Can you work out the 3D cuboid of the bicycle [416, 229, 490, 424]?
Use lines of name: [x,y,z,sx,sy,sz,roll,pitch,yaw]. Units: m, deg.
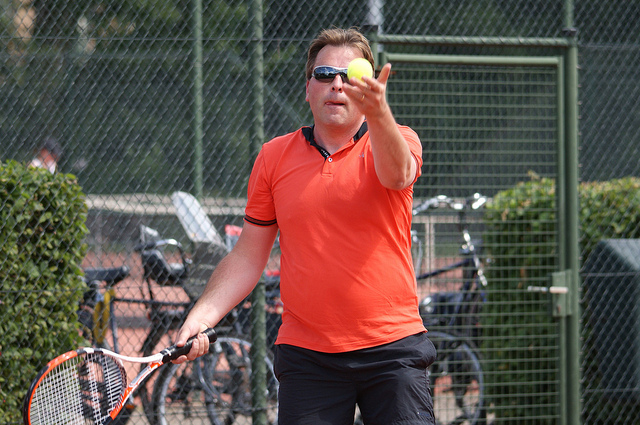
bicycle: [1.218,1.080,9.474,0.599,1.807,1.539,-1,-3,6]
